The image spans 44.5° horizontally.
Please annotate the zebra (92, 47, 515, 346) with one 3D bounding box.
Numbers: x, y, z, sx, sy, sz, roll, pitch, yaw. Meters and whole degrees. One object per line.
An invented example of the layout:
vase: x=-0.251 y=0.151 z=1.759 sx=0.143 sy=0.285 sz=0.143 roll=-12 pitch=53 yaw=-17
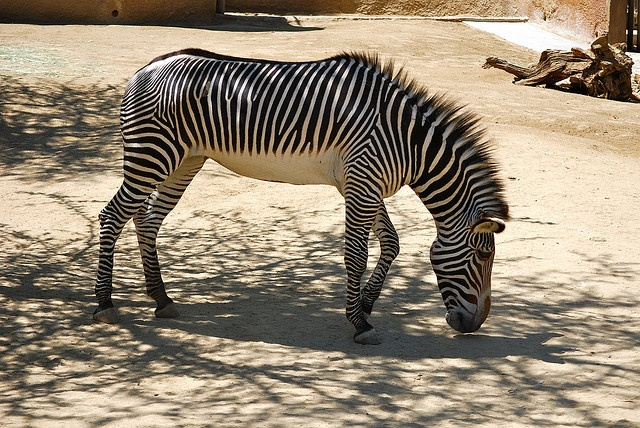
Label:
zebra: x=0.253 y=-0.312 z=8.263 sx=1.625 sy=2.558 sz=5.549 roll=-12 pitch=20 yaw=-35
